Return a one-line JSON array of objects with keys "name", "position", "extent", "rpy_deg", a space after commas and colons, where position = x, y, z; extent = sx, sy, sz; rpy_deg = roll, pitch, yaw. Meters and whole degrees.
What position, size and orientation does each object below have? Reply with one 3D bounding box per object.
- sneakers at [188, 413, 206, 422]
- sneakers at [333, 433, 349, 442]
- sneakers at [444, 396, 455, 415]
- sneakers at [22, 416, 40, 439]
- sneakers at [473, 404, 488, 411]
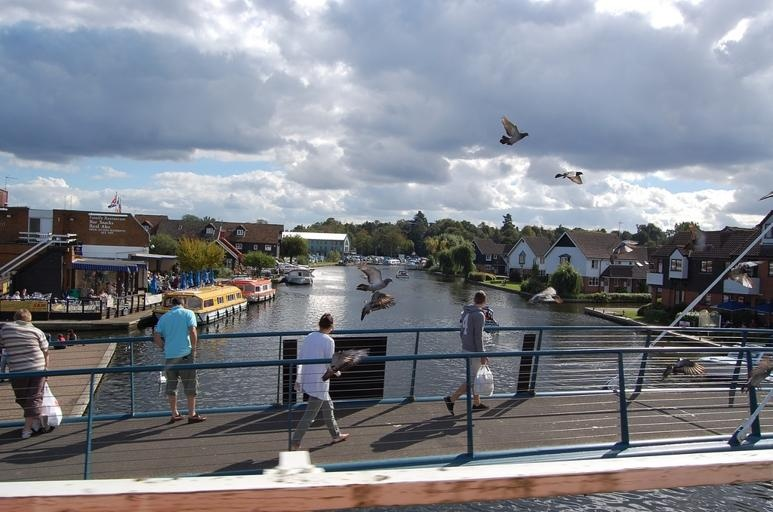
[{"name": "sneakers", "position": [-3.813, 3.268, 15.099], "extent": [0.299, 0.113, 0.149], "rpy_deg": [-3, 5, -21]}, {"name": "sneakers", "position": [-0.847, 3.479, 14.340], "extent": [0.176, 0.122, 0.370], "rpy_deg": [3, 2, 29]}, {"name": "sneakers", "position": [1.286, 3.050, 15.301], "extent": [0.176, 0.400, 0.141], "rpy_deg": [-9, 6, 14]}, {"name": "sneakers", "position": [-6.908, 3.323, 14.560], "extent": [0.202, 0.228, 0.558], "rpy_deg": [0, 13, -2]}, {"name": "sneakers", "position": [1.926, 3.152, 15.627], "extent": [0.361, 0.129, 0.126], "rpy_deg": [0, 1, -16]}]
